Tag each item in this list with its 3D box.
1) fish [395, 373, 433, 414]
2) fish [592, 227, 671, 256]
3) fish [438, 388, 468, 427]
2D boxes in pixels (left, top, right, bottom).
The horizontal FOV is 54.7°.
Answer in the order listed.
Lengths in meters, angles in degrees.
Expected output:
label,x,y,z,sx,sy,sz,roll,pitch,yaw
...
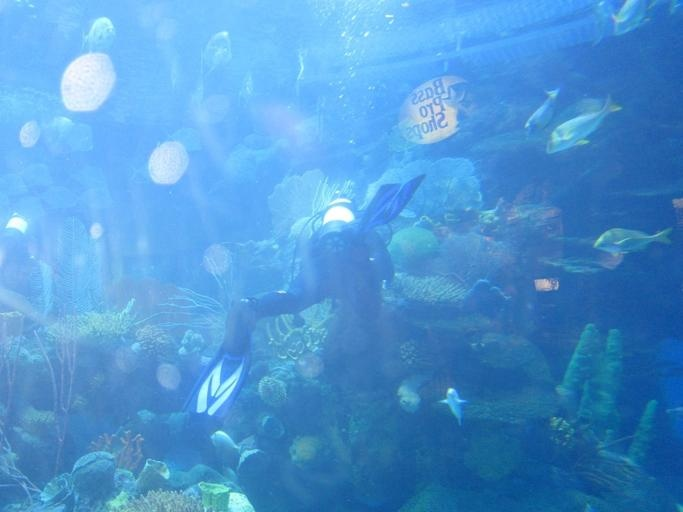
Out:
label,x,y,z,sx,sy,sz,roll,pitch,yaw
fish,1.563,2.958,14.491,0.499,0.836,0.174,7,-30,11
fish,6.496,-0.296,14.572,1.198,0.295,0.578,-3,-49,20
fish,2.344,3.066,13.804,0.531,0.365,0.842,-3,-33,15
